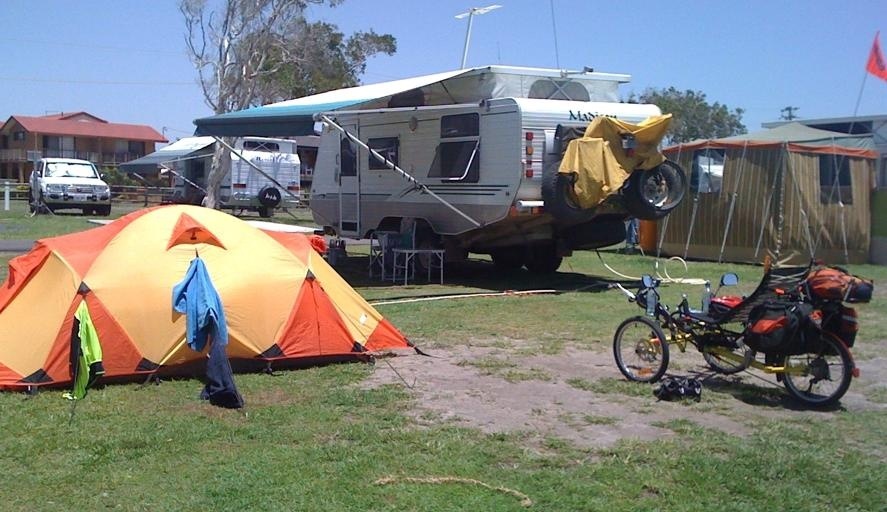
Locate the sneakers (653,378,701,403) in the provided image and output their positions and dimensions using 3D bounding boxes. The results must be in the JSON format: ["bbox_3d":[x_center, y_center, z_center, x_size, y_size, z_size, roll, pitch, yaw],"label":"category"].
[{"bbox_3d":[2.838,1.596,8.830,0.303,0.171,0.428,-1,-4,-23],"label":"sneakers"}]

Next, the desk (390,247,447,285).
[{"bbox_3d":[-0.580,0.189,15.346,0.880,0.585,0.847,5,-8,-43],"label":"desk"}]

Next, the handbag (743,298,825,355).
[{"bbox_3d":[3.994,0.827,8.616,0.707,0.452,0.675,-1,-1,-24],"label":"handbag"}]

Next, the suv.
[{"bbox_3d":[-14.592,-2.658,28.379,1.950,1.555,3.730,1,-3,-32],"label":"suv"}]
